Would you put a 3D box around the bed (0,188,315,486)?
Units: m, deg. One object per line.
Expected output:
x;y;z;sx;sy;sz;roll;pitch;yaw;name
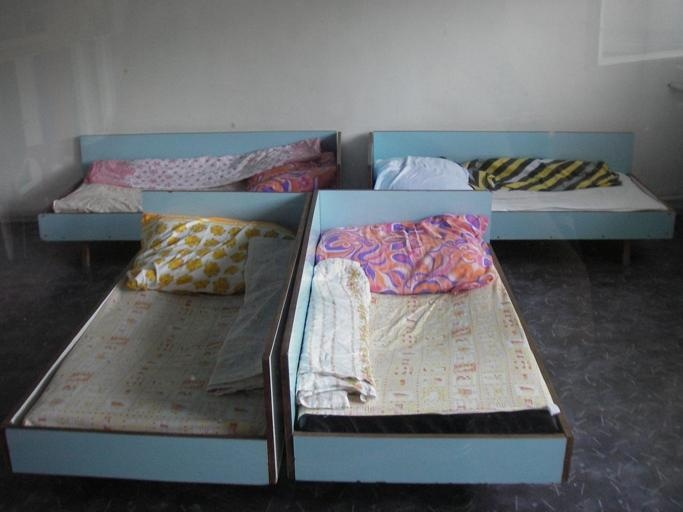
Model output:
-0.703;0.280;2.201;0.823;0.492;1.216;2;35;3;bed

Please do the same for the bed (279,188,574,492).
0.299;0.239;2.224;0.948;0.862;1.257;-2;19;3;bed

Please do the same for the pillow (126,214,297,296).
-0.683;0.004;2.480;0.649;0.164;0.391;4;60;-2;pillow

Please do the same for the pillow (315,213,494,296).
0.338;0.023;2.504;0.688;0.129;0.438;-3;44;3;pillow
